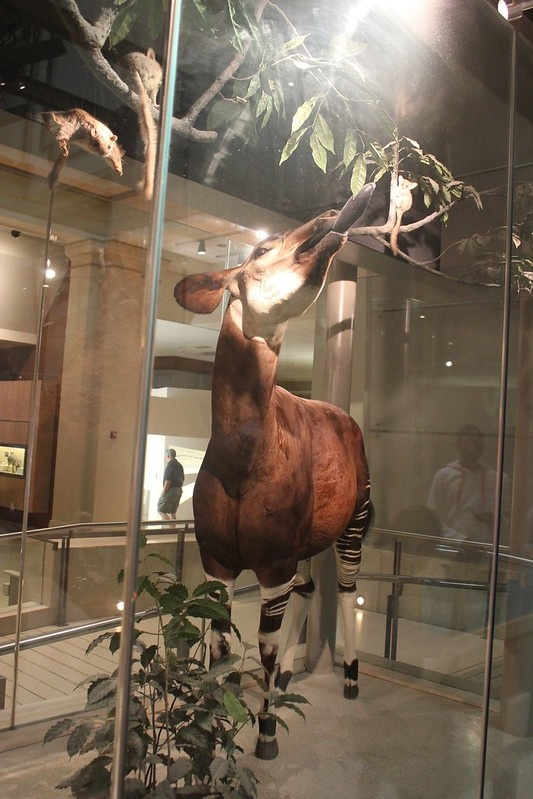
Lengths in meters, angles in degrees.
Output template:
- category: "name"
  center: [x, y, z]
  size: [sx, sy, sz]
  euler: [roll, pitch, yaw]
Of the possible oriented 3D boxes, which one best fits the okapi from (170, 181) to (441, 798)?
- category: "okapi"
  center: [0.047, 0.056, 1.255]
  size: [0.150, 1.155, 0.679]
  euler: [-2, -8, 34]
